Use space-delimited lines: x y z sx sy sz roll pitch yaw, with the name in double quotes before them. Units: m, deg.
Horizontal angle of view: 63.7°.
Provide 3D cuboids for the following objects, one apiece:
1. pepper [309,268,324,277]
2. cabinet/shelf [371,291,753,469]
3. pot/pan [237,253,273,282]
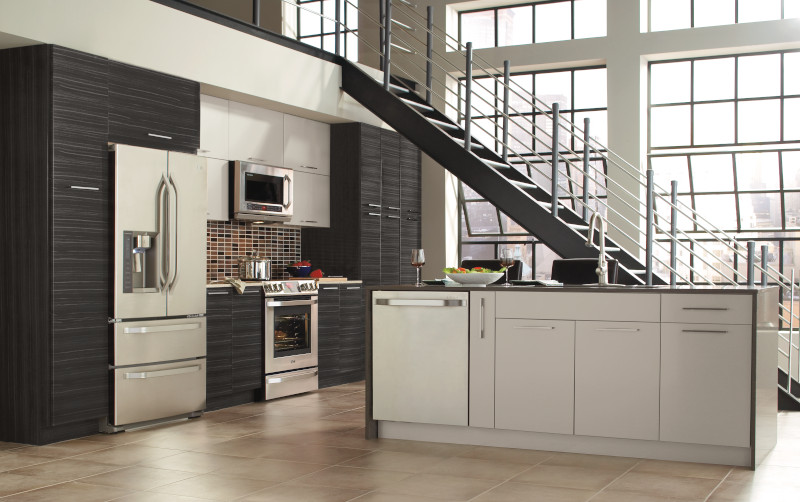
"pepper" -0.951 0.245 7.258 0.109 0.068 0.097 -4 7 -36
"cabinet/shelf" 1.168 0.892 5.029 2.837 1.098 0.946 1 -6 4
"pot/pan" -1.542 0.174 6.865 0.322 0.251 0.309 0 -1 12
